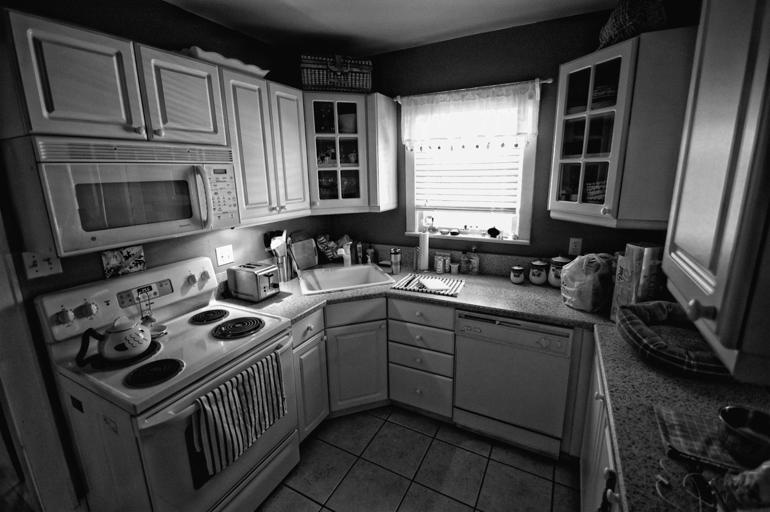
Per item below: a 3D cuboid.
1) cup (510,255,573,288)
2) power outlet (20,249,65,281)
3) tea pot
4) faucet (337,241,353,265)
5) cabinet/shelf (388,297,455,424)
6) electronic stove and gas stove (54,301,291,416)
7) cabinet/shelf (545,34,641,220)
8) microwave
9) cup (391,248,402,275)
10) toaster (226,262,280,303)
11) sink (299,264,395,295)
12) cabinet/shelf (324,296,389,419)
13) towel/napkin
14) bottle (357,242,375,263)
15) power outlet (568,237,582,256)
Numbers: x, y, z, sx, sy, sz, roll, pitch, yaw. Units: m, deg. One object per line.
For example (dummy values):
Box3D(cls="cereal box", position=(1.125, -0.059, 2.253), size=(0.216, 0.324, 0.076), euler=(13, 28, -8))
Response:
Box3D(cls="cup", position=(1.144, 0.116, 3.587), size=(0.391, 0.161, 0.207), euler=(-3, 5, 23))
Box3D(cls="power outlet", position=(-1.868, 0.044, 2.611), size=(0.021, 0.190, 0.167), euler=(2, 5, 28))
Box3D(cls="tea pot", position=(-1.520, 0.466, 2.676), size=(0.240, 0.243, 0.361), euler=(13, 23, 35))
Box3D(cls="faucet", position=(-0.348, -0.017, 4.081), size=(0.114, 0.186, 0.142), euler=(-2, 12, 2))
Box3D(cls="cabinet/shelf", position=(0.405, 0.707, 3.759), size=(0.553, 0.920, 0.615), euler=(8, 15, 34))
Box3D(cls="electronic stove and gas stove", position=(-1.214, 0.534, 2.887), size=(0.780, 0.153, 1.063), euler=(10, 21, 36))
Box3D(cls="cabinet/shelf", position=(1.348, -0.741, 3.103), size=(0.335, 1.043, 0.514), euler=(-3, 9, -31))
Box3D(cls="microwave", position=(-1.464, -0.353, 2.706), size=(0.629, 0.620, 1.178), euler=(10, 16, 32))
Box3D(cls="cup", position=(0.085, 0.042, 3.940), size=(0.077, 0.194, 0.143), euler=(-4, 12, -4))
Box3D(cls="toaster", position=(-0.930, 0.174, 3.464), size=(0.290, 0.232, 0.288), euler=(3, 15, 14))
Box3D(cls="sink", position=(-0.317, 0.201, 3.820), size=(0.725, 0.162, 0.517), euler=(-5, 12, -12))
Box3D(cls="cabinet/shelf", position=(-0.262, 0.769, 3.772), size=(0.474, 0.748, 0.510), euler=(-8, 18, -20))
Box3D(cls="towel/napkin", position=(-0.795, 0.884, 2.795), size=(0.657, 0.460, 0.089), euler=(-38, -33, 13))
Box3D(cls="bottle", position=(-0.167, -0.033, 4.202), size=(0.144, 0.178, 0.206), euler=(0, 12, 14))
Box3D(cls="power outlet", position=(1.395, -0.073, 3.547), size=(0.115, 0.171, 0.019), euler=(10, 19, 35))
